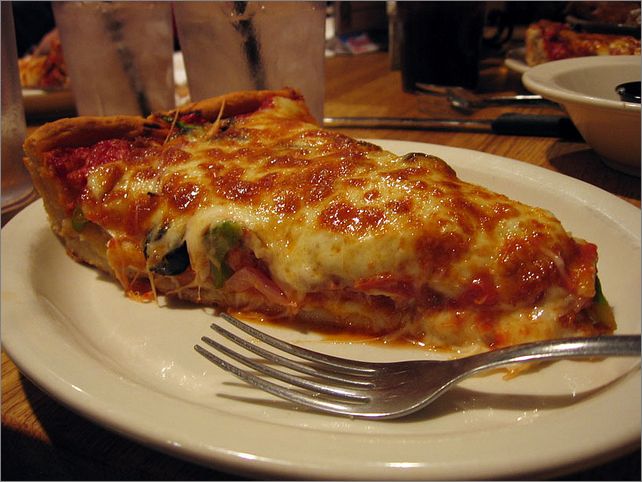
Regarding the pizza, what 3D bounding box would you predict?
[{"bbox_3d":[-0.067,-0.032,1.568,1.140,0.346,0.730,20,35,31],"label":"pizza"}]
